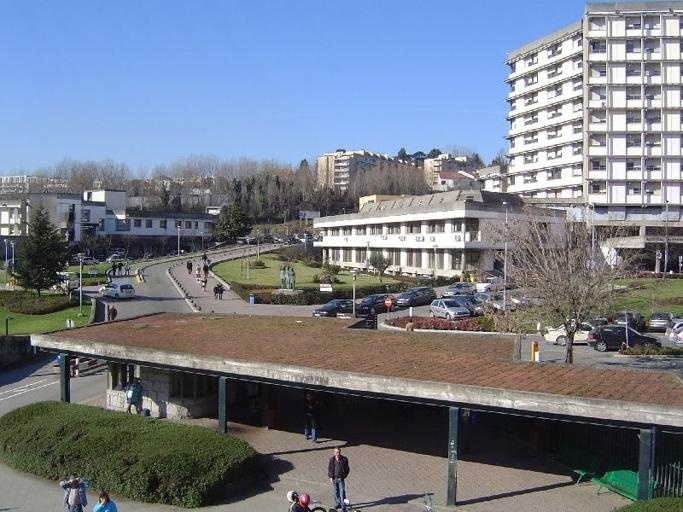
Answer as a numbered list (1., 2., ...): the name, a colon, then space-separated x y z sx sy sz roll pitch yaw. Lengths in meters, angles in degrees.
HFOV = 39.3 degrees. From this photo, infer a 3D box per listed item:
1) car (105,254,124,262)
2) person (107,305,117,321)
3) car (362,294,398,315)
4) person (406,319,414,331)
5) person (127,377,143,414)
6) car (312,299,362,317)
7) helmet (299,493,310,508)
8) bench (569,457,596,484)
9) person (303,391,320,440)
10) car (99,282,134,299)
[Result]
1. car: -30.158 0.298 127.026 1.169 0.894 1.685 -4 -7 42
2. person: -18.130 4.502 75.654 0.796 1.916 0.538 -2 11 -21
3. car: 2.809 3.925 79.046 1.278 1.066 2.850 -4 -5 42
4. person: 5.061 5.102 71.135 0.633 1.322 0.743 -1 2 10
5. person: -12.358 8.429 57.572 1.113 1.882 1.154 2 14 12
6. car: -0.422 4.186 76.031 2.886 1.039 1.345 3 -5 -40
7. helmet: -1.882 12.368 48.549 0.552 0.518 0.459 -5 -2 40
8. bench: 13.308 11.640 52.001 1.138 1.676 1.161 7 -7 -27
9. person: -1.724 9.080 55.134 0.815 2.845 1.227 -2 14 -2
10. car: -20.185 3.117 86.271 2.943 1.073 1.483 8 5 40
